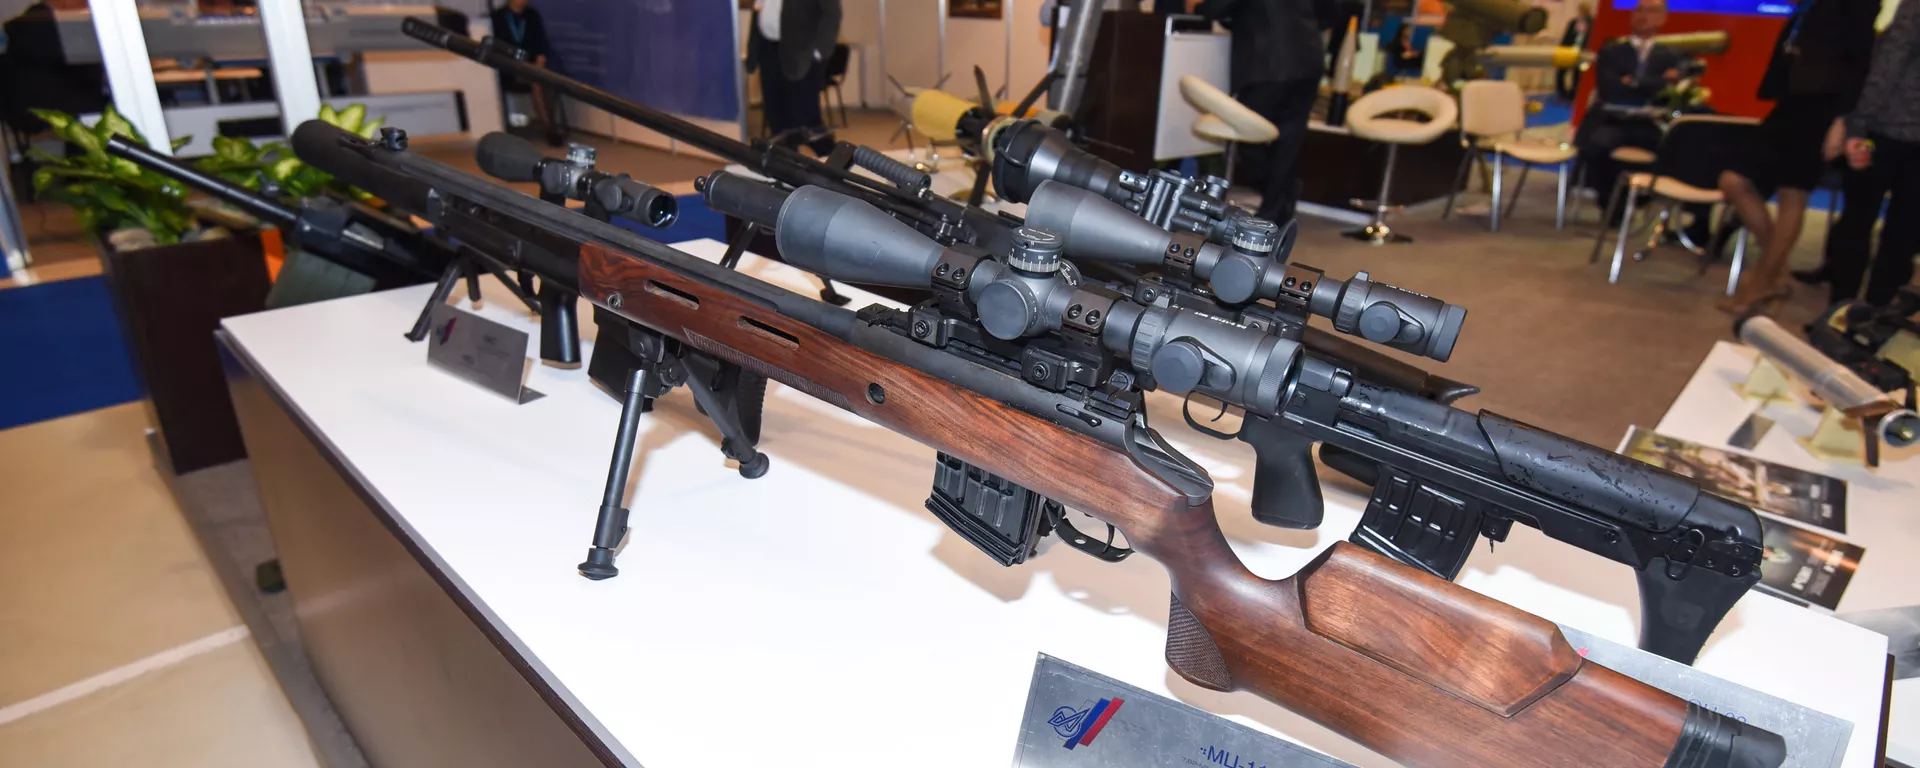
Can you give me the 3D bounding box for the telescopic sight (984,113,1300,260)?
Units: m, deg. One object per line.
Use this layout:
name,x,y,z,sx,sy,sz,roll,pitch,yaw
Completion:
telescopic sight,0.976,-0.885,4.818,1.870,0.396,0.508,17,16,18

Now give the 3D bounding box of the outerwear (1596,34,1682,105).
outerwear,3.310,-1.535,5.356,0.414,0.308,0.127,11,17,17

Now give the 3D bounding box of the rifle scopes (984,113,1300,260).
rifle scopes,0.984,-0.881,4.774,1.870,0.396,0.508,17,16,18
